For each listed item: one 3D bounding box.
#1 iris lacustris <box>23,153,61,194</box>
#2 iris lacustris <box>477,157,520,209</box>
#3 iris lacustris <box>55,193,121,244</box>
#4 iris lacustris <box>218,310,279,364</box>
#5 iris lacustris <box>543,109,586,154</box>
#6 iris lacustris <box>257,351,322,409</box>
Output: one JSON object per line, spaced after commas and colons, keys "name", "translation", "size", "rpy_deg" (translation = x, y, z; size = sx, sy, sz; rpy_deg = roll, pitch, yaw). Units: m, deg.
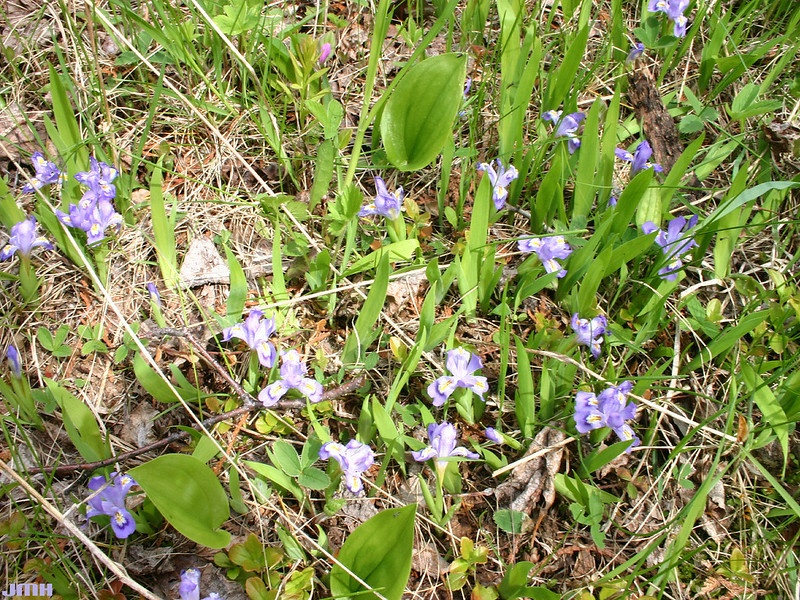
{"name": "iris lacustris", "translation": [-1.519, -0.538, 2.980], "size": [0.065, 0.152, 0.185], "rpy_deg": [16, 51, -50]}
{"name": "iris lacustris", "translation": [0.413, -0.537, 3.090], "size": [0.199, 0.204, 0.094], "rpy_deg": [27, 81, 43]}
{"name": "iris lacustris", "translation": [-1.268, -0.339, 2.883], "size": [0.171, 0.123, 0.225], "rpy_deg": [15, 78, -17]}
{"name": "iris lacustris", "translation": [-0.551, 0.124, 2.702], "size": [0.191, 0.112, 0.235], "rpy_deg": [31, 20, 14]}
{"name": "iris lacustris", "translation": [0.742, -0.789, 3.264], "size": [0.174, 0.088, 0.194], "rpy_deg": [28, 33, -7]}
{"name": "iris lacustris", "translation": [-0.413, 0.308, 2.644], "size": [0.207, 0.066, 0.220], "rpy_deg": [32, 70, -34]}
